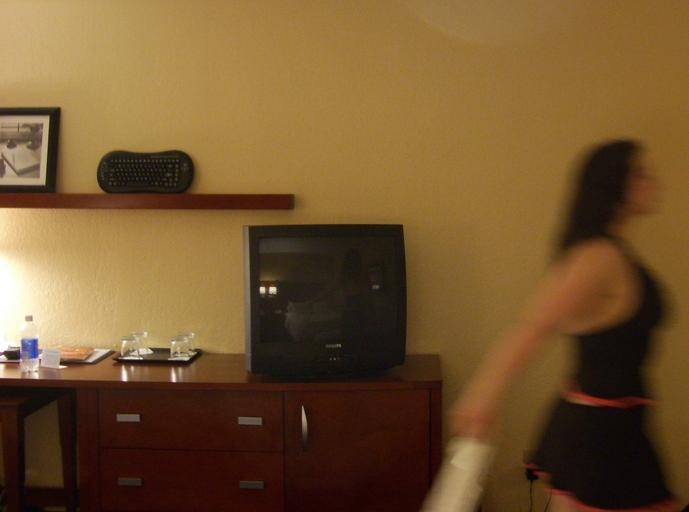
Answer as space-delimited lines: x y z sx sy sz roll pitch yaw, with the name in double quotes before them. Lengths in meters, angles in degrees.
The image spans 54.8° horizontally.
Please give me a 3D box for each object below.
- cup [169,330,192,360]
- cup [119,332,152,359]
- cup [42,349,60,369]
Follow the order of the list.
"cup" -0.739 0.414 3.045 0.070 0.110 0.113 2 -3 -1
"cup" -0.959 0.417 3.068 0.089 0.150 0.148 -1 -10 7
"cup" -1.274 0.454 2.917 0.074 0.070 0.040 -1 -6 12
